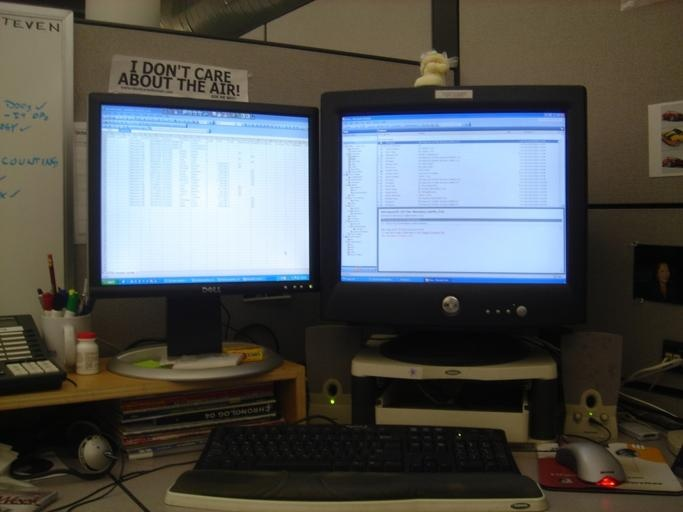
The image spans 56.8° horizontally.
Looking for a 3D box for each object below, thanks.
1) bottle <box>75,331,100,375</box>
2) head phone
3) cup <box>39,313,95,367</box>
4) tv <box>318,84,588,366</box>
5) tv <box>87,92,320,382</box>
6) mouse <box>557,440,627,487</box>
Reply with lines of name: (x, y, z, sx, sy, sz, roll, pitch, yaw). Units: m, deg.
bottle: (-0.485, 0.183, 1.215, 0.046, 0.074, 0.044, 1, 3, 0)
head phone: (-0.482, 0.351, 1.121, 0.196, 0.085, 0.120, 13, -8, -40)
cup: (-0.516, 0.166, 1.227, 0.071, 0.095, 0.113, -1, -1, 36)
tv: (0.224, -0.080, 1.326, 0.517, 0.483, 0.258, 0, 0, 5)
tv: (-0.288, -0.037, 1.316, 0.471, 0.527, 0.313, -1, 2, -25)
mouse: (0.430, 0.349, 1.093, 0.087, 0.049, 0.140, 6, -2, -6)
